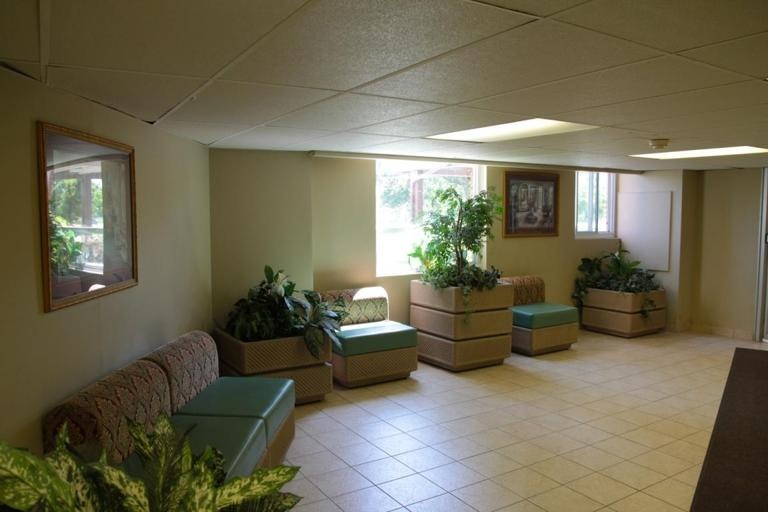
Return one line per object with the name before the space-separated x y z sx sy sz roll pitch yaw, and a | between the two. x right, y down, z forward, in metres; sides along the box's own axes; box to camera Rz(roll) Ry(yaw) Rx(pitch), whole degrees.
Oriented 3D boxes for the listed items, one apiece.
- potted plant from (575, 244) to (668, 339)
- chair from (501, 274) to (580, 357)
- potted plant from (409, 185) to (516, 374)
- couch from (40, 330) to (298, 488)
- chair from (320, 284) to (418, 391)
potted plant | 4.173 0.593 8.802 1.311 1.460 1.224 -2 3 -9
chair | 2.288 0.877 7.717 1.145 0.952 1.094 -2 7 -17
potted plant | 1.120 0.355 7.124 1.344 2.345 1.337 -1 -10 -30
couch | -1.458 1.394 3.993 1.114 1.093 2.036 7 3 0
chair | -0.288 0.974 6.442 1.113 1.107 1.151 -1 -1 -27
